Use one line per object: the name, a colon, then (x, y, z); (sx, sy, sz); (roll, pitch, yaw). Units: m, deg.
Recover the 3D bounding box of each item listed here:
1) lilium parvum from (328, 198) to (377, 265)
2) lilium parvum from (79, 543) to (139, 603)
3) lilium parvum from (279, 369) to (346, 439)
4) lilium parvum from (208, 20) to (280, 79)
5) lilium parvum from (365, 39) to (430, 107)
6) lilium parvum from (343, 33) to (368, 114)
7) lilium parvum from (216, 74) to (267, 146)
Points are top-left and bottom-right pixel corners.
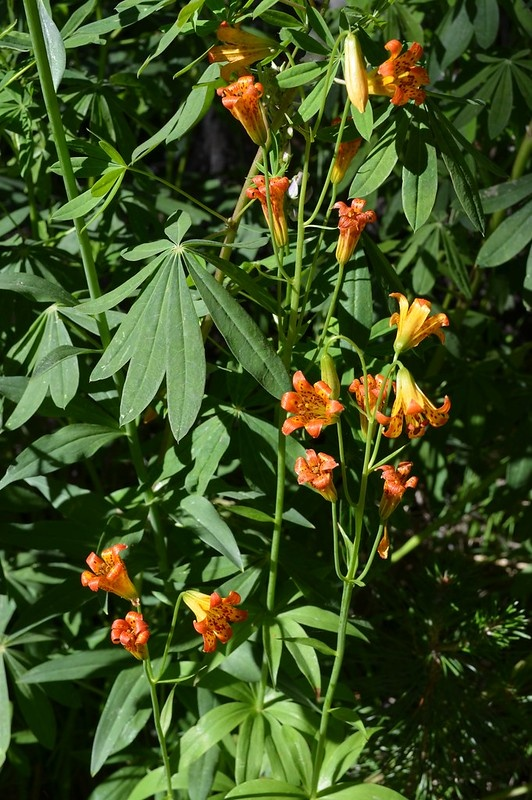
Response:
lilium parvum: (0.089, -0.169, 0.701); (0.042, 0.070, 0.085); (3, 30, 5)
lilium parvum: (-0.154, 0.173, 0.664); (0.047, 0.058, 0.051); (-11, 32, -18)
lilium parvum: (0.045, 0.000, 0.633); (0.059, 0.057, 0.032); (49, 20, 0)
lilium parvum: (-0.022, -0.345, 0.669); (0.066, 0.049, 0.061); (-2, 30, -3)
lilium parvum: (0.128, -0.303, 0.634); (0.047, 0.058, 0.069); (26, 39, 37)
lilium parvum: (0.076, -0.277, 0.575); (0.020, 0.071, 0.019); (-7, 3, -39)
lilium parvum: (-0.023, -0.280, 0.654); (0.047, 0.062, 0.090); (-2, 30, -3)
